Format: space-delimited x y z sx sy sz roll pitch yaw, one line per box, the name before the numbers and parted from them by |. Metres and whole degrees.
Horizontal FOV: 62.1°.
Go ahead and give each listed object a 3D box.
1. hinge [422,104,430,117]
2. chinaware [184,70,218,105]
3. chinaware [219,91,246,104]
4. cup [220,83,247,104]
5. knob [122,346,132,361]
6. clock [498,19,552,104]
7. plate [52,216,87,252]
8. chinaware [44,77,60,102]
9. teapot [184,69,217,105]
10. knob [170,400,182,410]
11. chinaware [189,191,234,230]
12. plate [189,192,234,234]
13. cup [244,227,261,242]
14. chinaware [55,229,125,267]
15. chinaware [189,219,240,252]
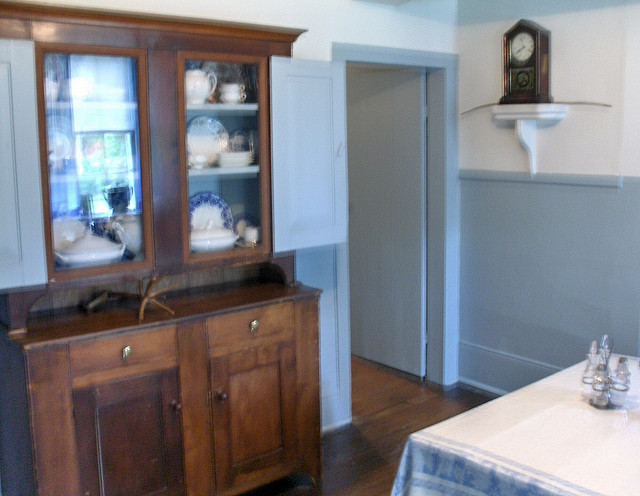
hinge | 0.793 -1.023 3.996 0.051 0.082 0.025 1 11 14
chinaware | -0.603 -0.789 2.630 0.190 0.156 0.152 -1 11 -13
chinaware | -0.440 -0.746 2.680 0.089 0.047 0.063 -5 11 -27
cup | -0.438 -0.776 2.679 0.104 0.087 0.087 2 10 1
knob | -0.858 0.473 2.371 0.013 0.054 0.052 8 3 -7
clock | 1.356 -1.229 3.520 0.120 0.540 0.336 -10 13 -38
plate | -1.116 -0.063 2.328 0.112 0.140 0.042 6 0 -3
chinaware | -1.141 -0.668 2.264 0.017 0.088 0.071 4 1 37
teapot | -0.599 -0.791 2.627 0.180 0.151 0.152 2 18 -13
knob | -0.675 0.734 2.495 0.047 0.053 0.031 3 6 22
chinaware | -0.556 -0.191 2.692 0.186 0.179 0.110 -7 14 -41
plate | -0.557 -0.188 2.692 0.181 0.201 0.114 -8 15 -44
cup | -0.358 -0.070 2.813 0.067 0.074 0.073 0 4 0
chinaware | -1.034 0.020 2.393 0.208 0.149 0.274 16 16 41
chinaware | -0.535 -0.062 2.702 0.262 0.153 0.046 -12 14 -39
